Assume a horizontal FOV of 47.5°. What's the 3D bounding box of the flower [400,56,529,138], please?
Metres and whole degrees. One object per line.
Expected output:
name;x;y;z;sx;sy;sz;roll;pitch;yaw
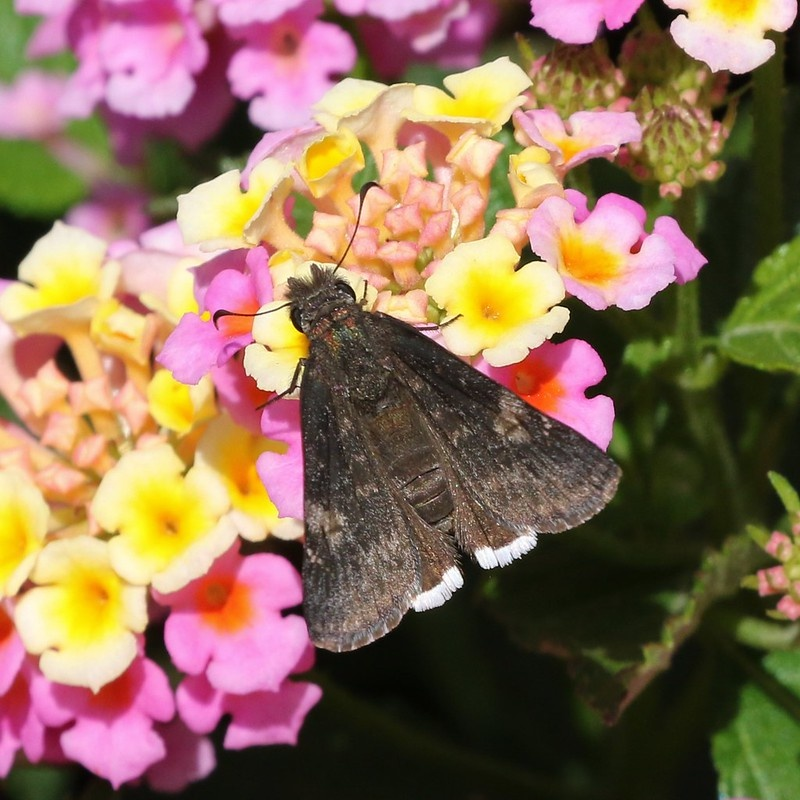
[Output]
flower;0.097;-0.329;1.030;0.127;0.128;0.063;4;82;4
